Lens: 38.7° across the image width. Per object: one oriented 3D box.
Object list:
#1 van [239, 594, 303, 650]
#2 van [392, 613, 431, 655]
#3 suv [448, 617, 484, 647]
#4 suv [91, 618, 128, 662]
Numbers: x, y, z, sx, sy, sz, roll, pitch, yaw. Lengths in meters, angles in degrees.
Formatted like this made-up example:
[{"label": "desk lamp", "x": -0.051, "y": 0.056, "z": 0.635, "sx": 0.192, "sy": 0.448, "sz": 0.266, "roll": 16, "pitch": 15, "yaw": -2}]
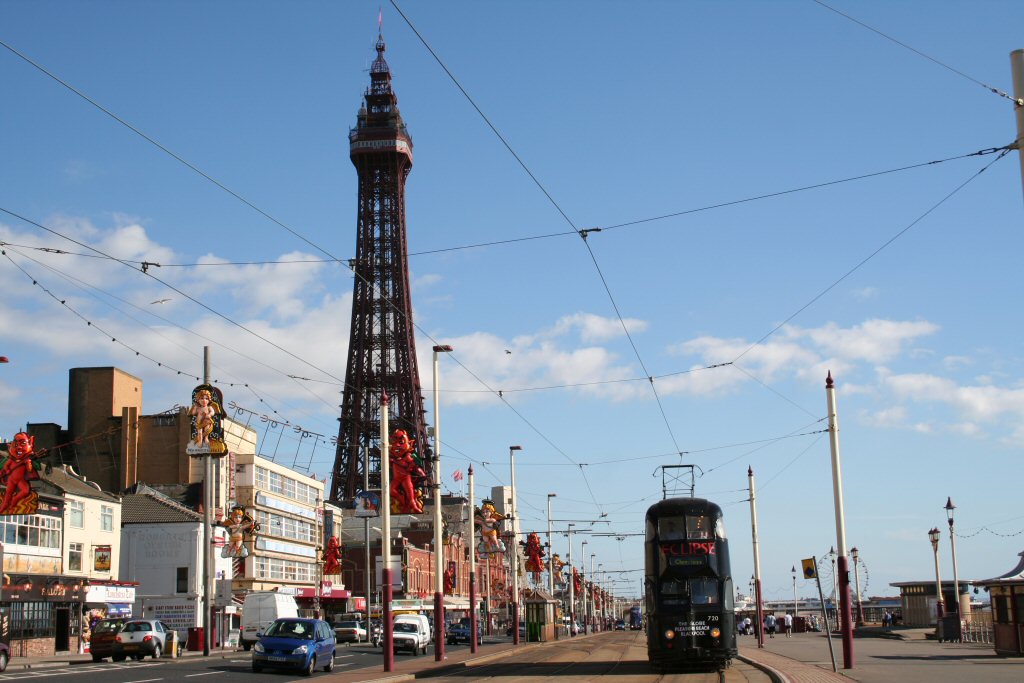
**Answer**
[{"label": "van", "x": -16.444, "y": 18.925, "z": 99.542, "sx": 3.838, "sy": 4.150, "sz": 6.730, "roll": -2, "pitch": -7, "yaw": 7}, {"label": "van", "x": -6.566, "y": 19.262, "z": 96.315, "sx": 2.323, "sy": 3.610, "sz": 5.931, "roll": 0, "pitch": -20, "yaw": -4}, {"label": "suv", "x": -4.099, "y": 22.421, "z": 112.523, "sx": 1.611, "sy": 2.137, "sz": 3.179, "roll": 0, "pitch": -20, "yaw": -6}, {"label": "suv", "x": -23.517, "y": 17.334, "z": 85.174, "sx": 1.966, "sy": 2.575, "sz": 1.359, "roll": -20, "pitch": -27, "yaw": 41}]
